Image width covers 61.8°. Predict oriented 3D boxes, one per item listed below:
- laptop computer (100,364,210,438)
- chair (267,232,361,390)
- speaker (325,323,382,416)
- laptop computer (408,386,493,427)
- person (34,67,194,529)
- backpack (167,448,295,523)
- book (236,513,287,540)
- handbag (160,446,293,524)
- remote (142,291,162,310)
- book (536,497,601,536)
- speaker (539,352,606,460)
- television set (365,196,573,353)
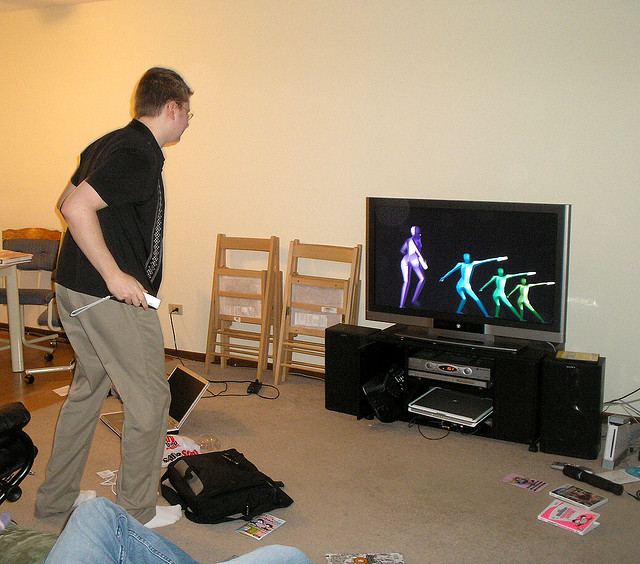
[{"bbox_3d":[-0.980,0.676,3.196,0.499,0.331,0.470,6,5,-43],"label":"laptop computer"},{"bbox_3d":[-0.035,0.197,3.919,0.704,1.457,0.445,13,19,23],"label":"chair"},{"bbox_3d":[0.170,0.578,3.442,0.313,0.531,0.103,6,11,34],"label":"speaker"},{"bbox_3d":[0.813,0.747,3.252,0.459,0.084,0.374,7,12,36],"label":"laptop computer"},{"bbox_3d":[-0.809,0.103,2.112,0.616,1.876,0.487,-2,9,-11],"label":"person"},{"bbox_3d":[-0.403,0.900,2.377,0.316,0.115,0.312,2,13,-34],"label":"backpack"},{"bbox_3d":[-0.255,1.032,2.261,0.118,0.018,0.168,-8,7,31],"label":"book"},{"bbox_3d":[-0.404,0.901,2.378,0.329,0.109,0.329,-1,14,-30],"label":"handbag"},{"bbox_3d":[-0.628,0.067,1.992,0.058,0.081,0.074,-3,9,-16],"label":"remote"},{"bbox_3d":[1.080,1.011,2.327,0.224,0.020,0.217,8,12,40],"label":"book"},{"bbox_3d":[1.358,0.655,3.009,0.292,0.552,0.286,-6,-19,28],"label":"speaker"},{"bbox_3d":[0.912,-0.049,3.165,0.825,0.651,0.229,5,9,30],"label":"television set"}]
